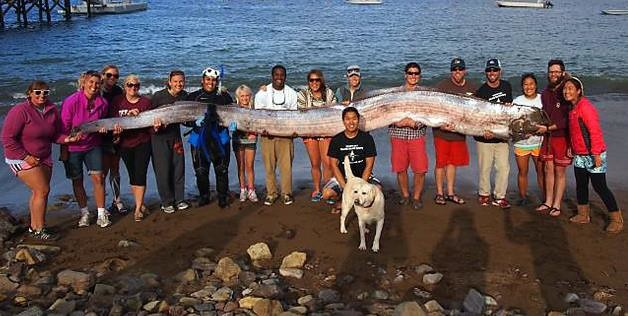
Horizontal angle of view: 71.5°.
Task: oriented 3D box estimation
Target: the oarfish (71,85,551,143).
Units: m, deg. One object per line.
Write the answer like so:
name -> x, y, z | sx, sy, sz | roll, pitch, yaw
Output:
oarfish -> -0.033, -1.212, 12.013 | 12.162, 1.384, 1.183 | 0, -29, 3

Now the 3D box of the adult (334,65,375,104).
adult -> 1.143, -2.072, 12.516 | 1.229, 0.960, 0.636 | 0, 7, 8

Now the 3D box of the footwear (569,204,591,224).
footwear -> 7.094, 1.474, 11.548 | 0.701, 0.551, 0.405 | -1, 10, 22

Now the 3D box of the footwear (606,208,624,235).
footwear -> 7.755, 1.589, 11.163 | 0.897, 0.355, 0.303 | -38, 13, -32

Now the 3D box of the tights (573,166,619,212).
tights -> 7.348, 0.729, 11.447 | 0.922, 0.442, 2.053 | 3, 31, 27

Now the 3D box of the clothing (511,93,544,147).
clothing -> 6.015, -1.039, 12.303 | 1.234, 1.265, 0.665 | 7, 7, 17

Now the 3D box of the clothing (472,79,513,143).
clothing -> 5.072, -1.301, 12.453 | 1.443, 1.539, 0.592 | 7, -8, 12

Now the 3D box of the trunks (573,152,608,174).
trunks -> 7.217, 0.093, 11.305 | 0.647, 0.397, 0.630 | 4, 12, 34

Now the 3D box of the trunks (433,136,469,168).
trunks -> 3.834, -0.256, 12.459 | 1.170, 0.918, 0.601 | -2, 3, -7

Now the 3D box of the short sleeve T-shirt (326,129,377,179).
short sleeve T-shirt -> 0.980, -0.125, 11.622 | 1.645, 1.275, 0.767 | 0, 11, 1
